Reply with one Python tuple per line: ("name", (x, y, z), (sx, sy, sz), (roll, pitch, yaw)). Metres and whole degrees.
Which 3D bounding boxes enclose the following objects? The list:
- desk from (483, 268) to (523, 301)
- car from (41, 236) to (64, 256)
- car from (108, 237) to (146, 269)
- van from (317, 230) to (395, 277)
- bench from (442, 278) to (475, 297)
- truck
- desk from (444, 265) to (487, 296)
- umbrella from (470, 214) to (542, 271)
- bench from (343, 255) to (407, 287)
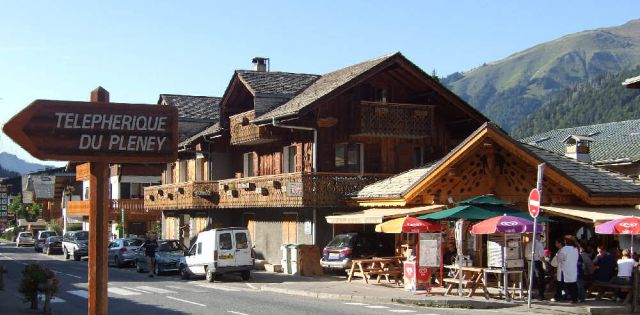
("desk", (12.812, 8.382, 49.425), (2.642, 2.103, 3.697), (0, 4, 15))
("car", (-30.430, 10.087, 81.746), (1.719, 2.085, 2.072), (-4, 5, -26))
("car", (-18.222, 8.685, 65.493), (3.225, 2.553, 7.532), (3, -5, -42))
("van", (2.915, 7.764, 56.531), (9.560, 3.556, 4.214), (1, -2, -4))
("bench", (9.739, 8.796, 49.858), (2.062, 1.146, 2.721), (-1, 4, 9))
("truck", (-7.862, 7.449, 55.538), (6.717, 3.779, 2.828), (-2, -3, 39))
("desk", (10.232, 8.561, 49.587), (2.179, 1.429, 3.145), (6, -10, -30))
("umbrella", (12.825, 5.720, 48.648), (2.616, 3.959, 2.452), (3, -9, -22))
("bench", (4.412, 8.410, 53.906), (2.843, 1.216, 2.540), (4, -10, -35))
